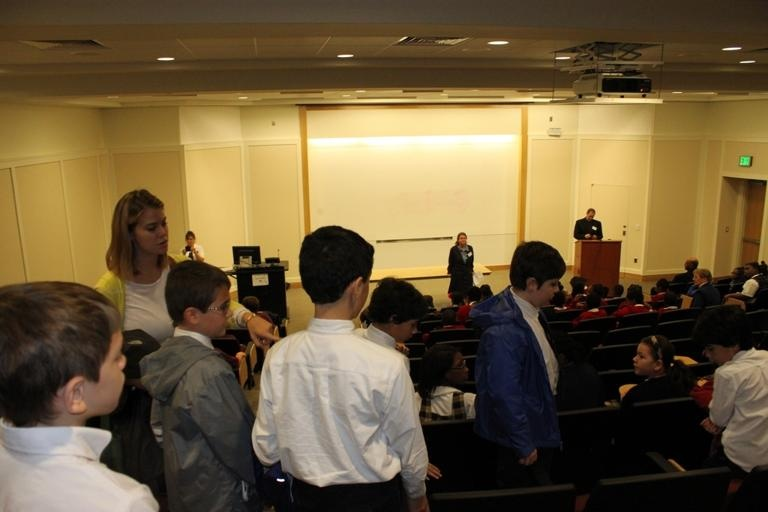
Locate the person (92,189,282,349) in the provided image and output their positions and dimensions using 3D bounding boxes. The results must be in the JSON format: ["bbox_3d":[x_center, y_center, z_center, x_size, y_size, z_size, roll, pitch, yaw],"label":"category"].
[{"bbox_3d":[-1.190,-0.021,3.760,1.219,1.347,0.762,-4,11,-23],"label":"person"}]

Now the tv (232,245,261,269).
[{"bbox_3d":[-2.414,0.023,9.776,0.607,0.438,0.315,-1,-6,-5],"label":"tv"}]

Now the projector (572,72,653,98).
[{"bbox_3d":[2.783,-2.116,6.784,0.854,0.276,0.408,1,6,18],"label":"projector"}]
